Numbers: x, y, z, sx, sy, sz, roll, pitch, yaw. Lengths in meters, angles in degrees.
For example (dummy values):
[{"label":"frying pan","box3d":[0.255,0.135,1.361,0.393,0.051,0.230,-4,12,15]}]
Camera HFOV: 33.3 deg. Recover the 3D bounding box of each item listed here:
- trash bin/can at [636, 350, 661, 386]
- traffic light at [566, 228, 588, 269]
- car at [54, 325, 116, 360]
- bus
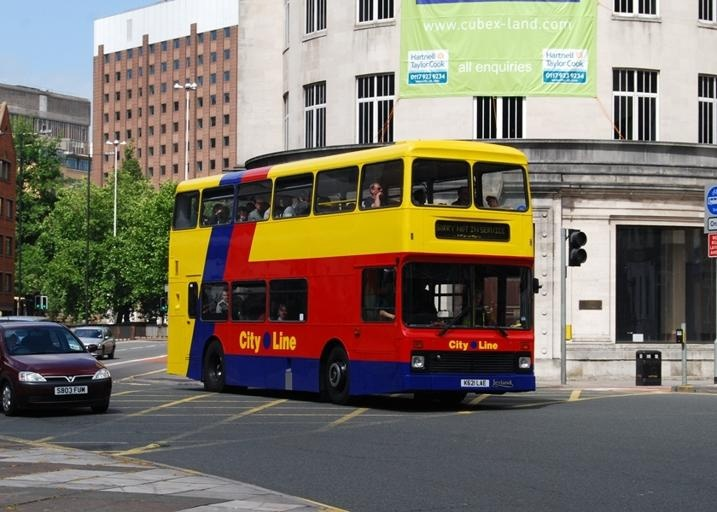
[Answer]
[{"label":"trash bin/can","box3d":[8.653,3.258,35.865,0.796,1.127,0.816,3,0,28]},{"label":"traffic light","box3d":[6.163,-0.256,33.770,0.483,1.009,1.275,-4,4,9]},{"label":"car","box3d":[-12.909,4.008,57.341,1.877,1.513,4.132,3,-3,3]},{"label":"bus","box3d":[-0.918,0.597,31.652,3.829,6.187,12.116,3,-4,-37]}]
